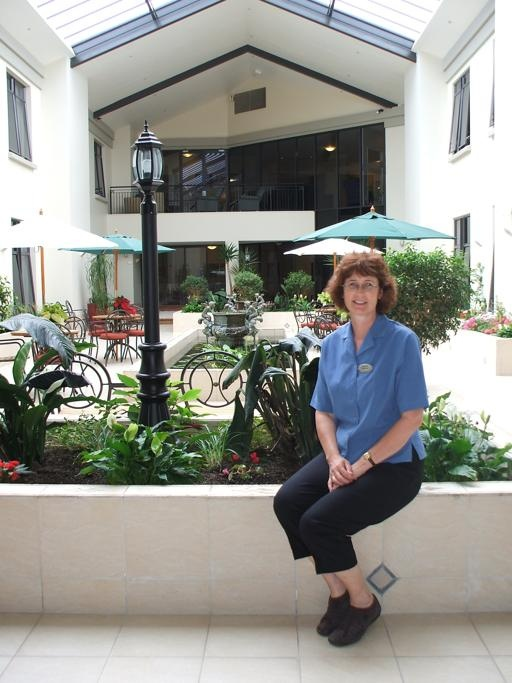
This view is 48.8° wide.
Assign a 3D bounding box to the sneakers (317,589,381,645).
[{"bbox_3d":[0.302,0.892,1.807,0.114,0.078,0.205,-18,4,41],"label":"sneakers"}]

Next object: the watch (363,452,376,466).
[{"bbox_3d":[0.354,0.364,1.755,0.023,0.033,0.034,-38,12,-11],"label":"watch"}]

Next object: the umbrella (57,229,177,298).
[{"bbox_3d":[-2.594,-1.404,10.559,2.081,1.275,1.961,0,9,-11],"label":"umbrella"}]

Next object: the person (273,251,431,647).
[{"bbox_3d":[0.323,0.329,1.845,0.457,1.234,0.484,1,8,27],"label":"person"}]

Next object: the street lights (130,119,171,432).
[{"bbox_3d":[-0.503,-0.334,2.629,0.195,1.430,0.473,-4,7,-9],"label":"street lights"}]
